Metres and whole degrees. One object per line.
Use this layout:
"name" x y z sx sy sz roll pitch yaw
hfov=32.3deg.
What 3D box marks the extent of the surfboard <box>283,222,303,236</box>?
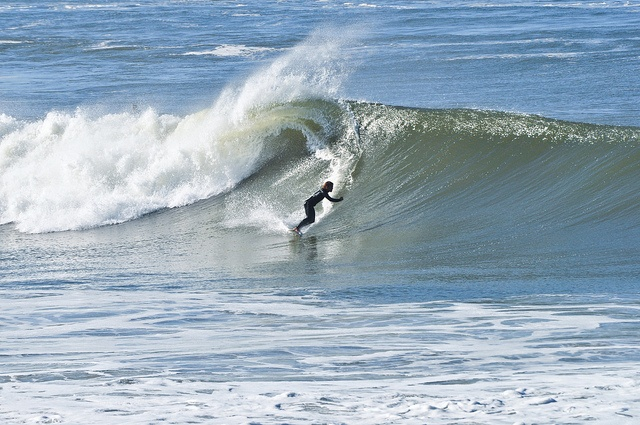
"surfboard" -0.855 0.520 33.172 0.661 0.177 0.179 20 51 20
